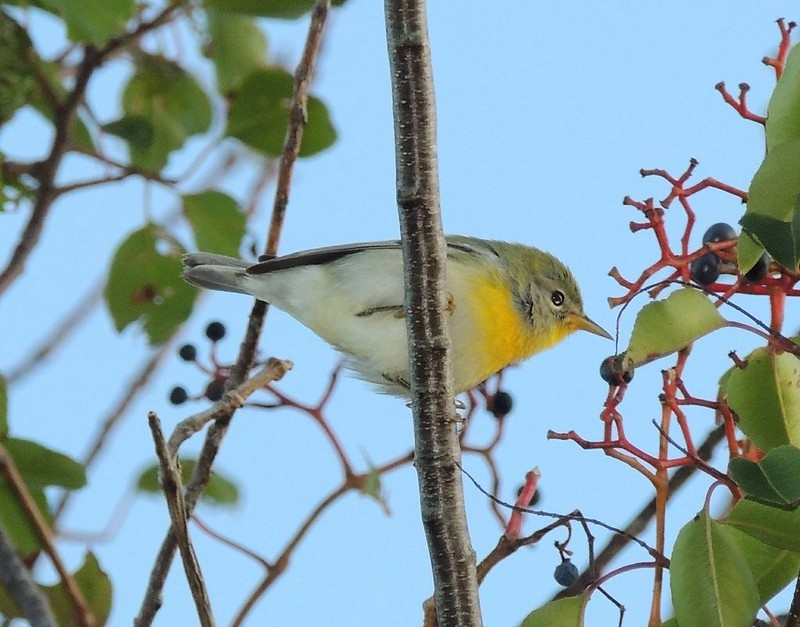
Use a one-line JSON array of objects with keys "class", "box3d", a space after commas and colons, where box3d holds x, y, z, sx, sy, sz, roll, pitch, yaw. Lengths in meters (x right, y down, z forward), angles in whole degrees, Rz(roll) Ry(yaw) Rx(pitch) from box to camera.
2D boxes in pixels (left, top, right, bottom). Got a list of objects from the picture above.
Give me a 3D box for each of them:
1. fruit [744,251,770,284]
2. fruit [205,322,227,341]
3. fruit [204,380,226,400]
[{"class": "fruit", "box3d": [1.031, -0.133, 3.940, 0.077, 0.077, 0.097, 1, -82, -21]}, {"class": "fruit", "box3d": [-0.555, 0.056, 4.193, 0.040, 0.014, 0.051, 6, -104, 1]}, {"class": "fruit", "box3d": [-0.610, 0.253, 4.615, 0.063, 0.019, 0.083, 7, -98, 37]}]
